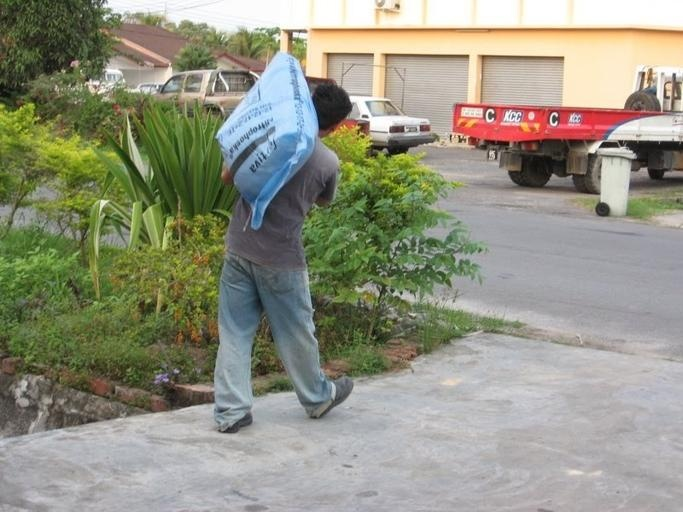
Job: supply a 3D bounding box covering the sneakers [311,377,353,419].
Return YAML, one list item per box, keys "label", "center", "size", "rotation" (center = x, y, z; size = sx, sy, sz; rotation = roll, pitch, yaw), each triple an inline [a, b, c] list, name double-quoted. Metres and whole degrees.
- label: "sneakers"
  center: [-0.064, 0.902, 4.132]
  size: [0.101, 0.138, 0.295]
  rotation: [24, 54, 39]

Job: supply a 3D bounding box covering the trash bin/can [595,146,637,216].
- label: "trash bin/can"
  center: [5.639, -1.528, 13.570]
  size: [0.673, 1.383, 0.922]
  rotation: [6, 11, 22]

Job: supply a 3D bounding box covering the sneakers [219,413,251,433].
- label: "sneakers"
  center: [-0.611, 1.002, 3.902]
  size: [0.072, 0.100, 0.212]
  rotation: [2, 5, 36]
